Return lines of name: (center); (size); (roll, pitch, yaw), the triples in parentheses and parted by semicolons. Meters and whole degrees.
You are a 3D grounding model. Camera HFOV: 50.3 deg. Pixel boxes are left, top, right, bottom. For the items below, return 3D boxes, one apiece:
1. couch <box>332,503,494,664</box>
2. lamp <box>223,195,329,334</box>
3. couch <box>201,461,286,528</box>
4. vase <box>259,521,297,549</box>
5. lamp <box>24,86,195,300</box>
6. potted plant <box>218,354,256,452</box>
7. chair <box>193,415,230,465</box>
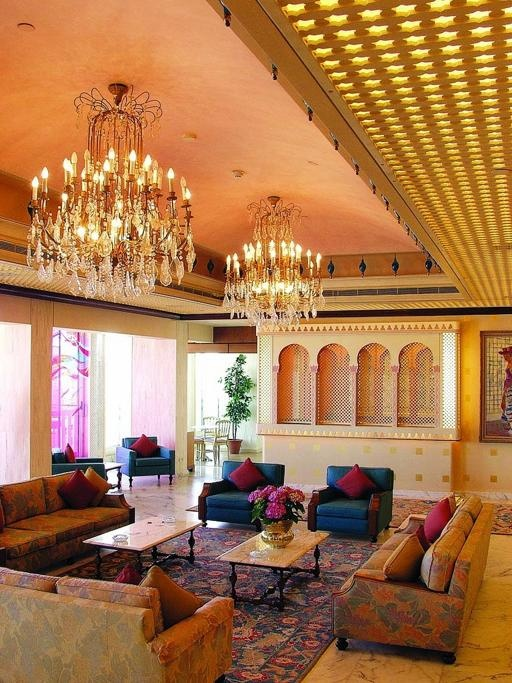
couch: (1.230, 1.391, 4.232); (0.852, 0.787, 1.894); (1, 2, 25)
lamp: (0.236, -0.853, 6.695); (1.416, 1.914, 1.414); (0, 2, 9)
couch: (-0.169, 2.185, 8.125); (0.954, 0.958, 1.056); (-3, -10, 23)
vase: (0.239, 1.956, 5.596); (0.262, 0.182, 0.256); (0, -1, -22)
lamp: (-0.937, -1.153, 3.955); (1.041, 1.384, 1.026); (-4, 4, -6)
potted plant: (-0.493, 1.687, 14.916); (0.777, 2.732, 0.753); (-1, -5, 12)
chair: (-1.217, 2.702, 15.004); (1.123, 1.666, 1.023); (3, -3, 3)
